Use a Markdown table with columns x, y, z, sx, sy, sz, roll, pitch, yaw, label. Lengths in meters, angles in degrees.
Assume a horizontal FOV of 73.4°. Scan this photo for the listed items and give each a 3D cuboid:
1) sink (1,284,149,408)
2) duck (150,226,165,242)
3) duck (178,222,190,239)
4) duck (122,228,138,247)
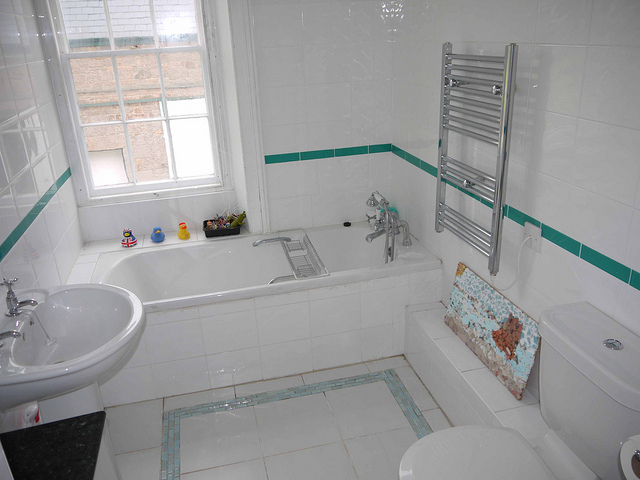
| x | y | z | sx | sy | sz | roll | pitch | yaw | label |
| --- | --- | --- | --- | --- | --- | --- | --- | --- | --- |
| -1.060 | 0.405 | 1.875 | 0.471 | 0.239 | 0.538 | -1 | 24 | -28 | sink |
| -1.326 | -0.051 | 3.496 | 0.096 | 0.110 | 0.118 | -1 | 7 | -26 | duck |
| -1.123 | -0.068 | 3.519 | 0.111 | 0.170 | 0.108 | -6 | 5 | -38 | duck |
| -1.543 | -0.014 | 3.454 | 0.115 | 0.157 | 0.071 | -6 | -9 | -21 | duck |
